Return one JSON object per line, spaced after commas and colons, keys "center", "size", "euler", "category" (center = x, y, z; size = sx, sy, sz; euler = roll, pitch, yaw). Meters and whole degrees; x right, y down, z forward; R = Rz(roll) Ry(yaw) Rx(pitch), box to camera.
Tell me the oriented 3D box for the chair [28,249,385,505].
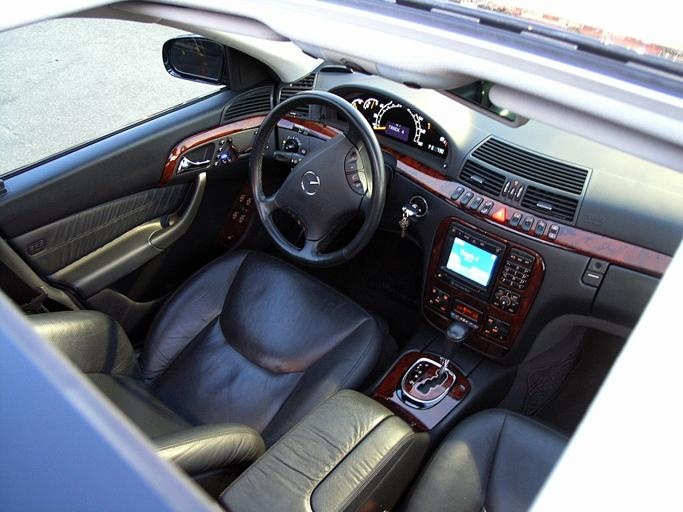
{"center": [-0.347, 0.246, 1.459], "size": [0.723, 0.443, 0.865], "euler": [26, 38, 30], "category": "chair"}
